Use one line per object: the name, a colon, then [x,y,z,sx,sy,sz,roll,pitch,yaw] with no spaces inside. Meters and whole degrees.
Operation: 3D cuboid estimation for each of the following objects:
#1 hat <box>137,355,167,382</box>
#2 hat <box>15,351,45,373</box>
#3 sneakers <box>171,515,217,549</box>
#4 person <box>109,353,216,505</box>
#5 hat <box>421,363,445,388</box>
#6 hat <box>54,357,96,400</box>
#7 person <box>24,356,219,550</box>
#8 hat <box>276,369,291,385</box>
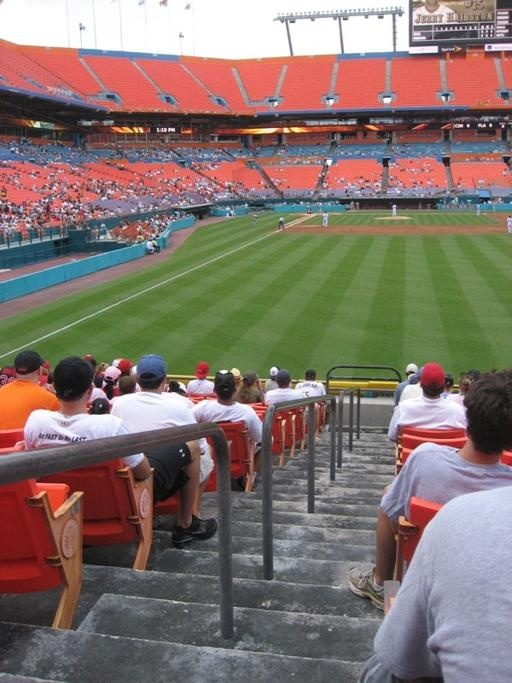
hat: [-0.761,0.191,3.920,0.154,0.107,0.221,2,20,0]
hat: [-1.944,0.202,4.567,0.173,0.131,0.226,3,30,0]
sneakers: [-0.401,1.262,3.558,0.120,0.150,0.358,12,16,42]
person: [-0.778,0.721,4.076,0.871,1.160,0.742,5,-2,12]
hat: [1.459,0.282,4.400,0.165,0.119,0.225,4,33,13]
hat: [-0.977,0.172,2.909,0.198,0.143,0.249,1,48,-2]
person: [-0.832,0.731,3.433,0.991,1.241,1.130,3,4,15]
hat: [0.379,0.539,7.727,0.279,0.179,0.423,5,6,4]
